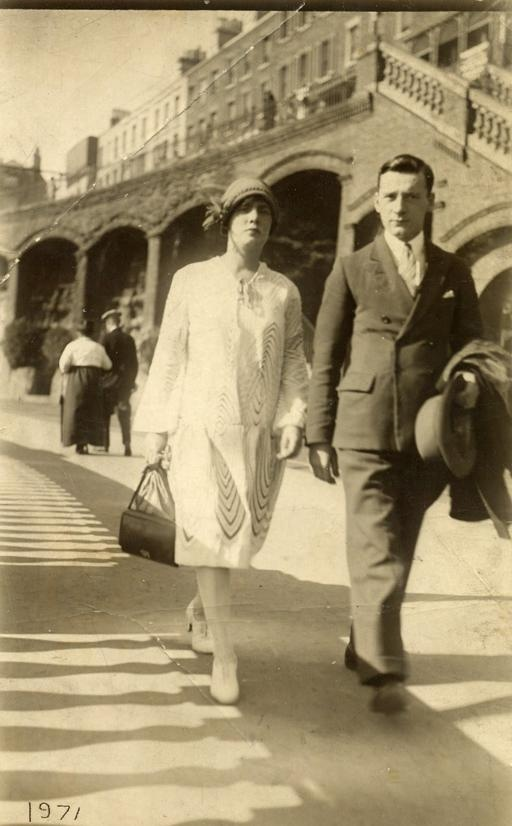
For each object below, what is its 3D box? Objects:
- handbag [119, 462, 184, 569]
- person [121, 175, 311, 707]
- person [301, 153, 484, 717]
[{"bbox_3d":[-0.329,0.312,4.155,0.218,0.365,0.124,11,21,7],"label":"handbag"},{"bbox_3d":[-0.110,-0.142,4.091,0.567,1.270,0.174,1,3,1],"label":"person"},{"bbox_3d":[0.452,0.059,4.094,0.565,1.840,0.209,1,3,4],"label":"person"}]
